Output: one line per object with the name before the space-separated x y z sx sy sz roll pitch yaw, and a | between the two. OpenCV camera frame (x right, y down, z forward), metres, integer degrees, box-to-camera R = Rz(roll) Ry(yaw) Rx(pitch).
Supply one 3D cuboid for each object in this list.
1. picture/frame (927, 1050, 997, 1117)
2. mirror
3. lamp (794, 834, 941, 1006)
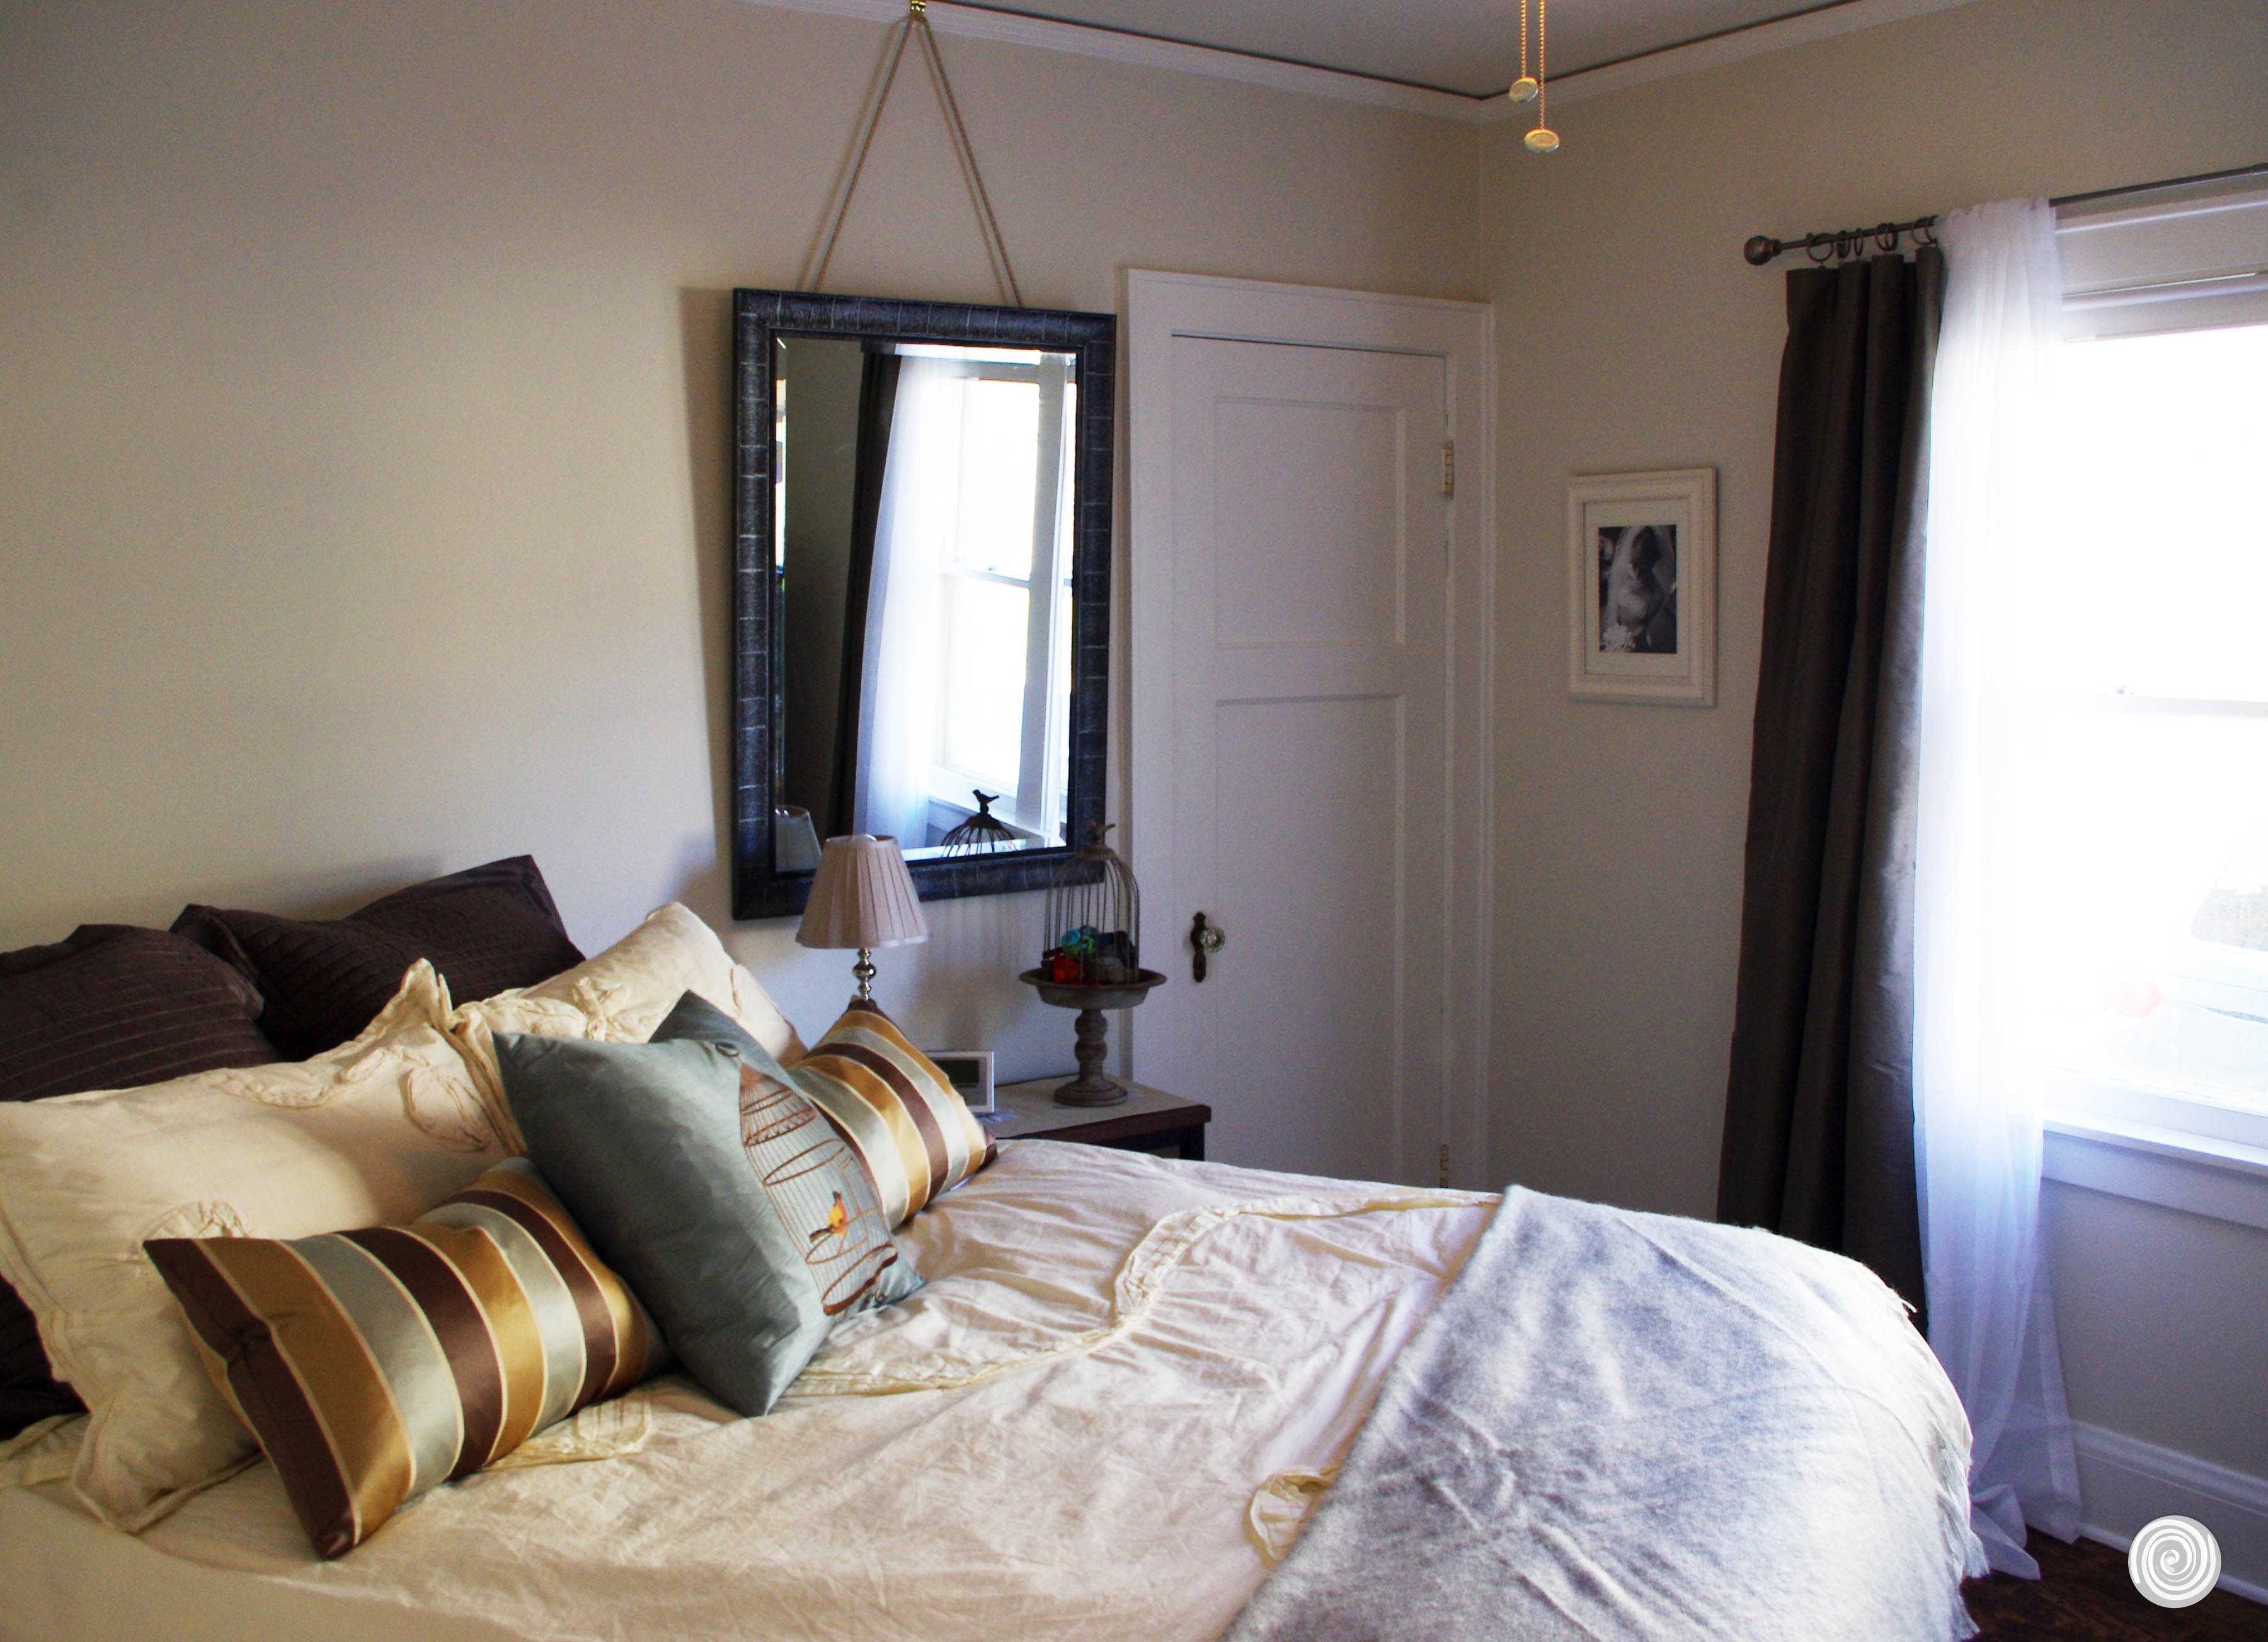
picture/frame | -0.362 0.538 3.449 0.160 0.184 0.023 0 -2 2
mirror | -0.469 -0.486 3.771 0.934 1.360 0.084 -4 8 -23
lamp | -0.586 0.234 3.608 0.243 0.454 0.260 3 21 -4
